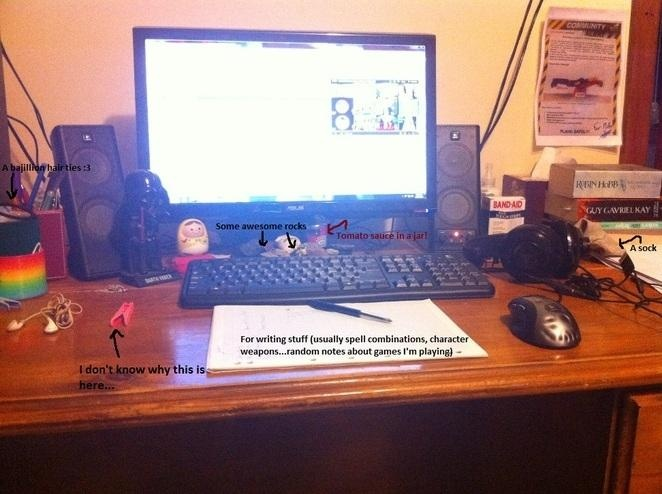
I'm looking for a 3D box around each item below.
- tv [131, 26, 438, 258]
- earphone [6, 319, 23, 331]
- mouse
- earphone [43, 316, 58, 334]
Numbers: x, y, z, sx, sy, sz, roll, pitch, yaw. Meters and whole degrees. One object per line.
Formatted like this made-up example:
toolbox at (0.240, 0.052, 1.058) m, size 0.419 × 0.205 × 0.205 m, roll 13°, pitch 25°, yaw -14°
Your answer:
tv at (-0.109, -0.241, 1.117) m, size 0.553 × 0.386 × 0.135 m, roll -1°, pitch 8°, yaw -10°
earphone at (-0.524, 0.130, 0.833) m, size 0.013 × 0.011 × 0.022 m, roll 16°, pitch -7°, yaw -14°
mouse at (0.348, 0.106, 0.833) m, size 0.081 × 0.047 × 0.141 m, roll -7°, pitch 22°, yaw -6°
earphone at (-0.460, 0.127, 0.828) m, size 0.016 × 0.012 × 0.030 m, roll -4°, pitch 29°, yaw -27°
